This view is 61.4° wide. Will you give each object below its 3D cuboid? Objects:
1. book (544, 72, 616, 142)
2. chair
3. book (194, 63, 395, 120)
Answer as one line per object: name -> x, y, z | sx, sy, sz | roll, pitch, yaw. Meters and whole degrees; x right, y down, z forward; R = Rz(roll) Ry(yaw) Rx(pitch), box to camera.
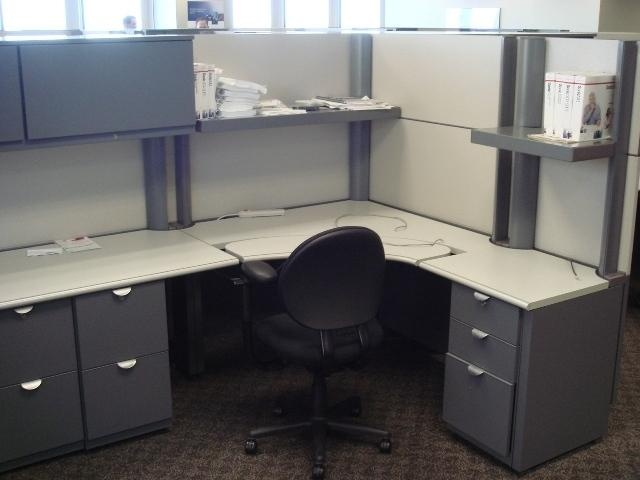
book -> 1.217, -0.627, 2.542 | 0.298, 0.294, 0.166 | 9, 21, 26
chair -> -0.027, 0.503, 2.581 | 0.737, 1.183, 0.553 | -3, 19, -6
book -> -0.266, -0.931, 3.317 | 1.144, 0.313, 0.337 | -12, 22, -28
